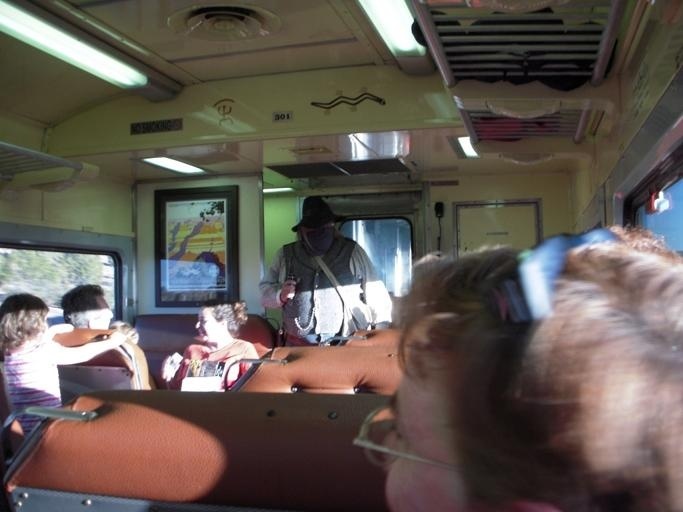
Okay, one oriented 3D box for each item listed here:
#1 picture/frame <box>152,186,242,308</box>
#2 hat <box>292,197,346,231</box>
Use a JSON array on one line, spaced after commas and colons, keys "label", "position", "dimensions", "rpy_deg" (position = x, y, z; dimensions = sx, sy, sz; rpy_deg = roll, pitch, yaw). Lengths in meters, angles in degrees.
[{"label": "picture/frame", "position": [-1.616, -0.114, 5.950], "dimensions": [1.062, 1.331, 0.140], "rpy_deg": [0, -3, 18]}, {"label": "hat", "position": [-0.201, -0.336, 4.373], "dimensions": [0.331, 0.176, 0.330], "rpy_deg": [-17, -6, 2]}]
